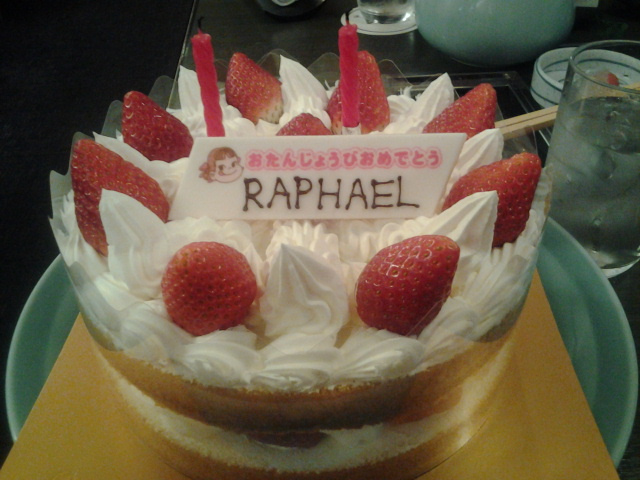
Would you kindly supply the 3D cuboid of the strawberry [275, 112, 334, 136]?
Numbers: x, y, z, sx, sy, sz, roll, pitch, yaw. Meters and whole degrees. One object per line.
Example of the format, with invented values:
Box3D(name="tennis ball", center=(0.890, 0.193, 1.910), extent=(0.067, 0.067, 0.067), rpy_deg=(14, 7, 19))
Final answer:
Box3D(name="strawberry", center=(-0.054, -0.400, 2.242), extent=(0.108, 0.049, 0.117), rpy_deg=(3, 24, -1))
